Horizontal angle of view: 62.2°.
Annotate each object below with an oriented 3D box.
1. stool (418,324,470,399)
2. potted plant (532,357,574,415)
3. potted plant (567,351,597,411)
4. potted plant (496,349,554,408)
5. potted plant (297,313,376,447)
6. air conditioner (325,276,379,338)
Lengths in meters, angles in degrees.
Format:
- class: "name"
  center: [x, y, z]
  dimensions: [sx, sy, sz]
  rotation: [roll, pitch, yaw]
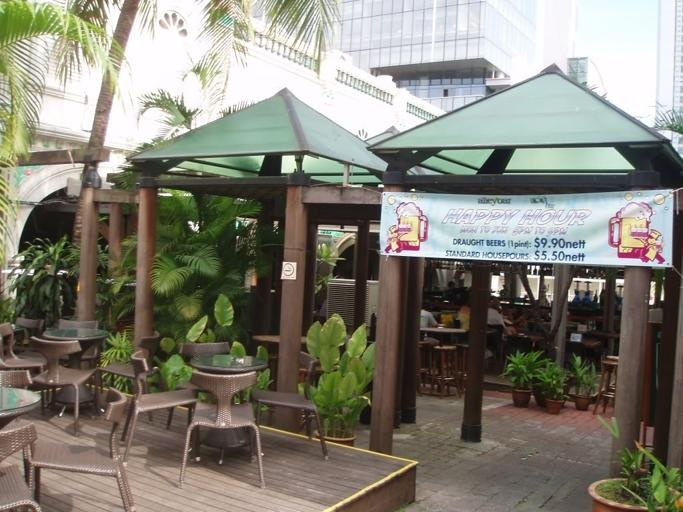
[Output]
- class: "stool"
  center: [2.107, 2.329, 12.102]
  dimensions: [0.963, 1.667, 0.862]
  rotation: [4, 5, 40]
- class: "potted plant"
  center: [4.192, 2.522, 11.164]
  dimensions: [0.790, 0.903, 0.682]
  rotation: [4, 4, 37]
- class: "potted plant"
  center: [4.896, 2.549, 11.434]
  dimensions: [0.608, 1.162, 0.781]
  rotation: [3, 5, 32]
- class: "potted plant"
  center: [3.824, 2.400, 11.700]
  dimensions: [1.255, 1.258, 1.135]
  rotation: [0, -4, 20]
- class: "potted plant"
  center: [0.024, 1.563, 7.597]
  dimensions: [0.878, 1.585, 0.966]
  rotation: [-2, 6, -38]
- class: "air conditioner"
  center: [0.382, 1.358, 16.664]
  dimensions: [1.132, 1.750, 1.232]
  rotation: [4, 8, 41]
